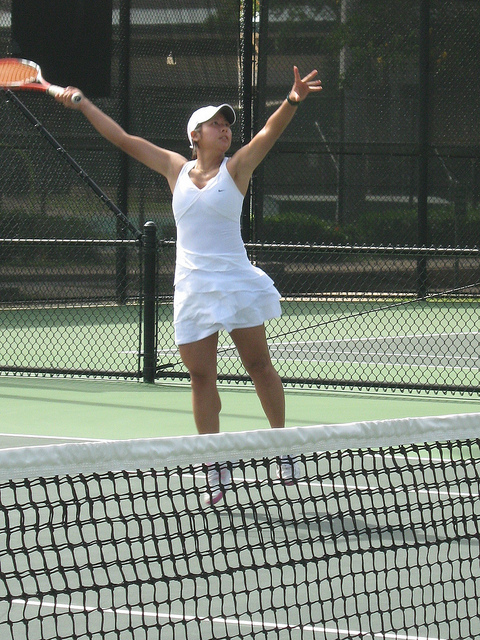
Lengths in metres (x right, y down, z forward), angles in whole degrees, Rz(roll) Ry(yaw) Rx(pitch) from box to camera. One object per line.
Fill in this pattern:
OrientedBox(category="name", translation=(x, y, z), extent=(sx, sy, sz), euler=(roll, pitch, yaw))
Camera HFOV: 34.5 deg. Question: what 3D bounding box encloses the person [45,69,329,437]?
OrientedBox(category="person", translation=(-0.151, -0.278, 3.410), extent=(0.960, 1.529, 0.469), euler=(10, 14, 35))
